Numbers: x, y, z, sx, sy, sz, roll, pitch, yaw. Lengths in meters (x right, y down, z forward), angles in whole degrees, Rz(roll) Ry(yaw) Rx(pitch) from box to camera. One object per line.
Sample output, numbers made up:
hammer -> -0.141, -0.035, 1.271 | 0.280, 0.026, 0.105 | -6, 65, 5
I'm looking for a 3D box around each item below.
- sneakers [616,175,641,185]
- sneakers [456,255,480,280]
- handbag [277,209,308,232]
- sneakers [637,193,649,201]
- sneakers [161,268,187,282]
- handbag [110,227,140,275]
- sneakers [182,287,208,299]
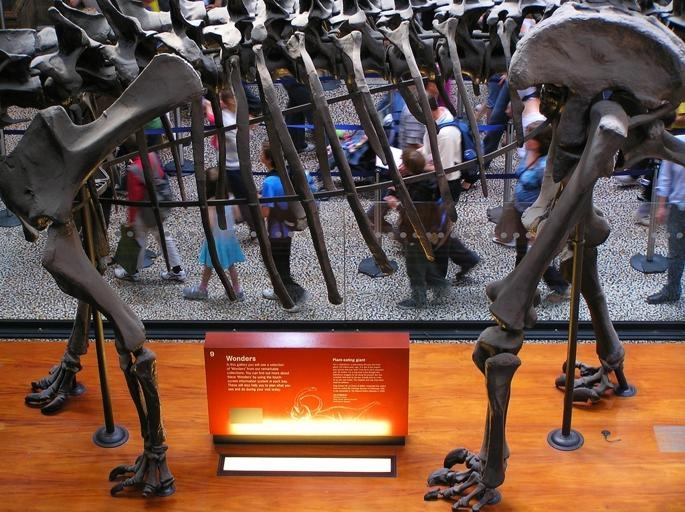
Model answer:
sneakers -> 2.286, -0.614, 5.714 | 0.151, 0.060, 0.068 | 7, 44, 18
sneakers -> 0.859, 0.084, 4.909 | 0.103, 0.193, 0.053 | 28, 32, -31
handbag -> -0.311, -0.252, 4.675 | 0.183, 0.145, 0.162 | 22, -6, -19
sneakers -> 2.226, -0.445, 5.258 | 0.049, 0.054, 0.206 | 11, 9, 32
sneakers -> -1.225, 0.128, 5.113 | 0.197, 0.081, 0.088 | 3, -13, -3
handbag -> -1.534, -0.057, 4.990 | 0.211, 0.349, 0.082 | 20, 36, 0
sneakers -> -1.076, 0.271, 5.143 | 0.149, 0.078, 0.064 | 1, -27, -9
